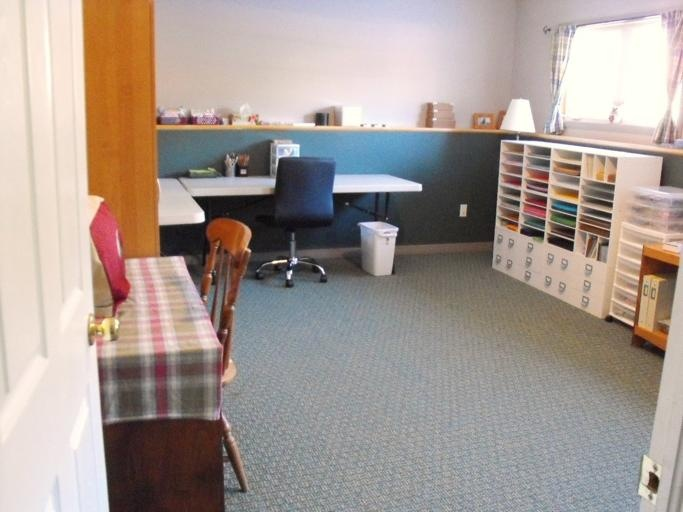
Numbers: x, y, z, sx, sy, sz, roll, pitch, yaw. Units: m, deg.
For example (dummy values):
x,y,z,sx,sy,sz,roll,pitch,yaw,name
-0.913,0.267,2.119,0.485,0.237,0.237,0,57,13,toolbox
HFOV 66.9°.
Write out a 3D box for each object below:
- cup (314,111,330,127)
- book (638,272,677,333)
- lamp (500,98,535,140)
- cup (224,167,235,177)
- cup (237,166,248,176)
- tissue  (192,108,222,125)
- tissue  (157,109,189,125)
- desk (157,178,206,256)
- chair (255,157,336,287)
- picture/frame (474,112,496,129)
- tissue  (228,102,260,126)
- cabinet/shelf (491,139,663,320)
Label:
x,y,z,sx,sy,sz,roll,pitch,yaw,name
-0.186,-1.397,5.230,0.173,0.134,0.171,-1,16,0,cup
1.892,0.283,3.092,0.372,0.366,0.119,-5,6,-41,book
1.771,-1.352,5.128,0.359,0.402,0.390,8,17,25,lamp
-1.035,-0.776,4.764,0.078,0.085,0.086,4,5,15,cup
-0.923,-0.787,4.804,0.101,0.104,0.077,-1,11,-16,cup
-1.266,-1.282,4.843,0.189,0.129,0.201,-1,19,-9,tissue 
-1.534,-1.276,4.734,0.307,0.136,0.171,-10,18,-29,tissue 
-1.253,-0.320,4.000,0.314,0.181,0.740,0,29,-15,desk
-0.443,-0.330,4.550,0.647,1.125,0.723,-9,18,-25,chair
1.597,-1.522,5.784,0.215,0.167,0.031,-1,7,-13,picture/frame
-0.934,-1.329,4.939,0.256,0.279,0.282,3,13,-16,tissue 
1.907,-0.191,4.103,0.404,1.176,1.290,-2,16,-11,cabinet/shelf
